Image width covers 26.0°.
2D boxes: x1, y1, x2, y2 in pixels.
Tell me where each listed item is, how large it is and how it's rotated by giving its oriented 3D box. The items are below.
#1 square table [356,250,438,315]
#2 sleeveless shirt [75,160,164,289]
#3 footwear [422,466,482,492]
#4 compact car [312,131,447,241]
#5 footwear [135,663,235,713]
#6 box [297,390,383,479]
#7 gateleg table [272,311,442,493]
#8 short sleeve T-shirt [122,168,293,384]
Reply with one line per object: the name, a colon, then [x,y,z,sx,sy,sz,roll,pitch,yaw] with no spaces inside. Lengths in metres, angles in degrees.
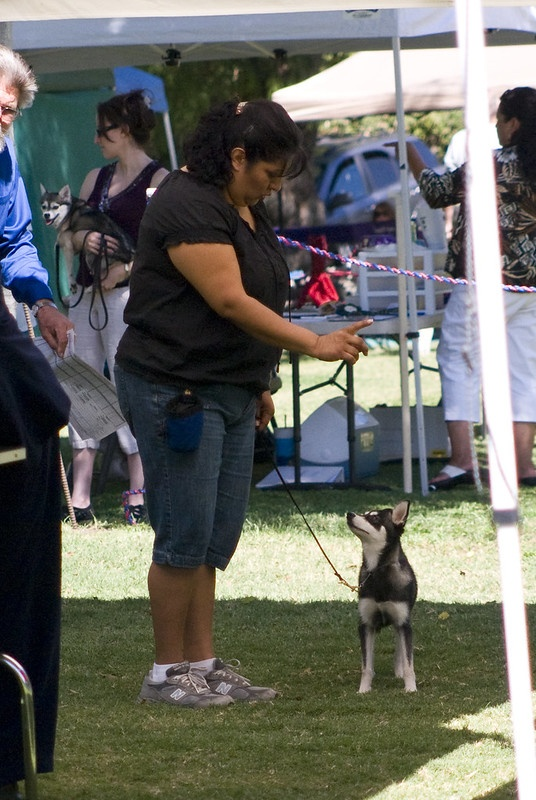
square table: [0.713,-0.655,6.524,0.527,0.452,0.383,0,2,25]
sleeveless shirt: [-0.632,-0.779,5.391,0.285,0.600,0.866,-14,23,-16]
footwear: [0.999,0.445,6.326,0.327,0.115,0.113,1,-7,-36]
compact car: [1.346,-2.878,16.351,1.121,1.151,2.397,-33,12,-27]
footwear: [-0.223,0.814,3.268,0.304,0.117,0.103,3,-5,8]
box: [0.397,0.249,6.772,0.567,0.560,0.361,-2,2,13]
gateleg table: [0.434,-0.046,6.462,0.943,1.067,1.177,0,3,13]
short sleeve T-shirt: [-0.190,-0.413,3.248,0.535,0.615,0.633,1,15,-1]
